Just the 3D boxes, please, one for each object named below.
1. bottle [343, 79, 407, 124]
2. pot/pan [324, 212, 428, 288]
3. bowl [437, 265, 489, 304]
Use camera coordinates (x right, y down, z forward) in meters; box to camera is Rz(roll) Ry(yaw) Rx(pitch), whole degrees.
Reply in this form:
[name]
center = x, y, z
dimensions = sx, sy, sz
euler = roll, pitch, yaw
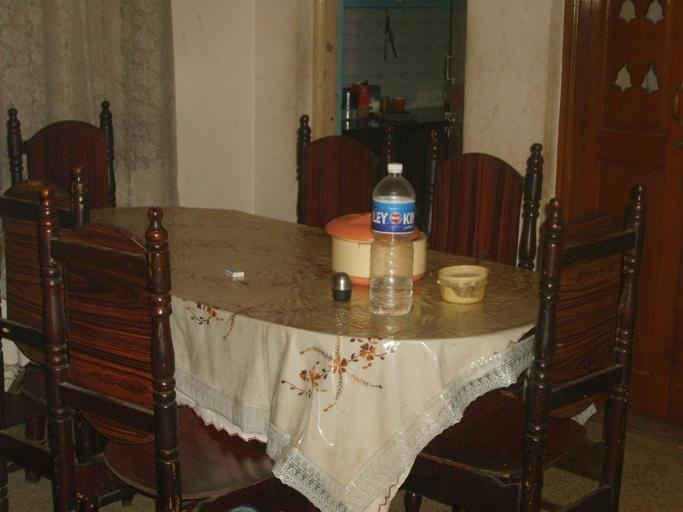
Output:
[bottle]
center = 0.251, -1.201, 6.014
dimensions = 0.436, 0.181, 0.510
euler = -16, 23, -41
[pot/pan]
center = 0.094, -0.020, 2.312
dimensions = 0.240, 0.172, 0.221
euler = -7, 13, -42
[bowl]
center = 0.360, 0.087, 2.232
dimensions = 0.155, 0.095, 0.157
euler = -1, 10, 0
